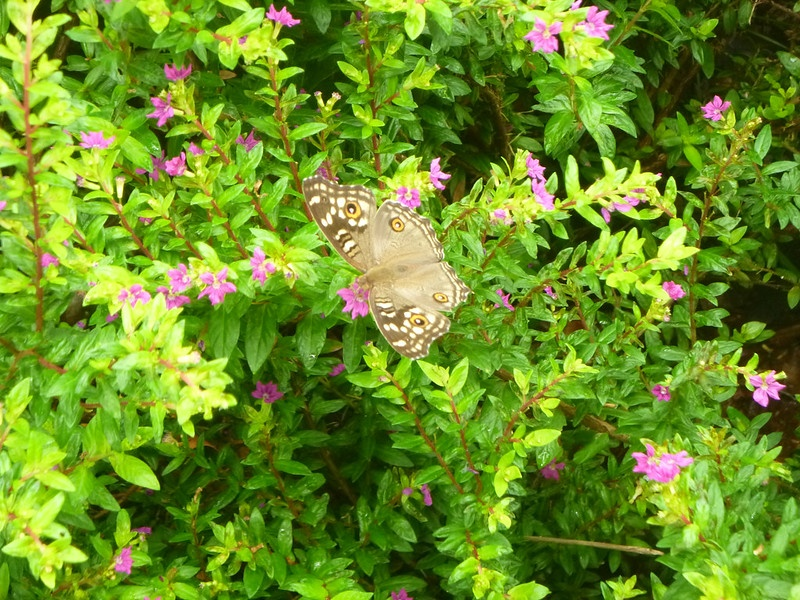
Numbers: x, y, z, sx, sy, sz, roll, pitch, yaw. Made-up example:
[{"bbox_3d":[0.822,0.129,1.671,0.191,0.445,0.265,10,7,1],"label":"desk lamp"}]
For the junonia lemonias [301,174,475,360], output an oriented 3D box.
[{"bbox_3d":[-0.037,-0.186,2.773,0.348,0.202,0.745,-32,89,-1],"label":"junonia lemonias"}]
